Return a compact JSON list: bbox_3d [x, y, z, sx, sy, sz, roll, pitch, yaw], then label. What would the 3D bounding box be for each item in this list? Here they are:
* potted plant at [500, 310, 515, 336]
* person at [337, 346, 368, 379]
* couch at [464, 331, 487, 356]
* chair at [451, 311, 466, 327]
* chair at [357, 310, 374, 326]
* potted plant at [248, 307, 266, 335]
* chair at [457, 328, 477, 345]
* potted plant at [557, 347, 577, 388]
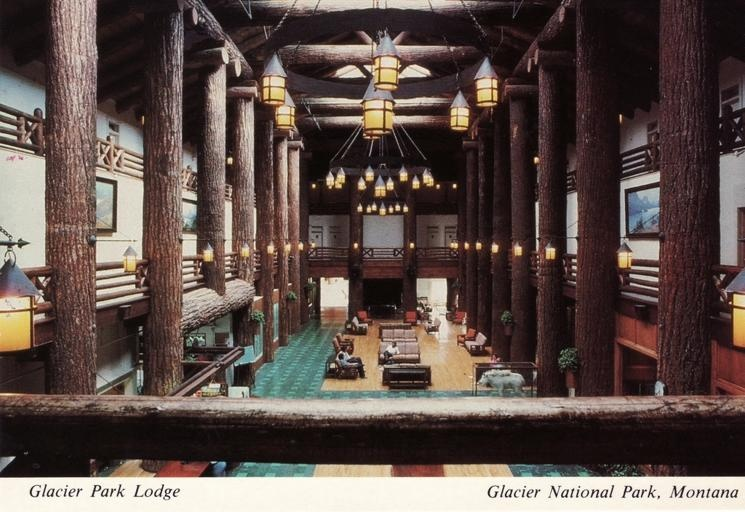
[{"bbox_3d":[3.810,1.871,16.573,0.298,0.691,1.062,-1,-6,10],"label":"potted plant"},{"bbox_3d":[-0.649,3.058,17.210,0.712,0.833,0.841,-1,2,-3],"label":"person"},{"bbox_3d":[3.470,2.905,19.662,0.630,0.723,0.630,0,-6,4],"label":"couch"},{"bbox_3d":[3.792,2.707,25.578,0.688,0.521,0.676,6,0,17],"label":"chair"},{"bbox_3d":[-0.271,2.672,25.628,0.683,0.809,0.637,2,-3,-43],"label":"chair"},{"bbox_3d":[-3.274,1.821,16.639,0.672,0.888,0.626,0,-1,-5],"label":"potted plant"},{"bbox_3d":[3.380,2.846,20.844,0.545,0.672,0.695,0,-4,-4],"label":"chair"},{"bbox_3d":[3.991,2.309,12.000,0.344,0.911,2.128,-2,-6,17],"label":"potted plant"}]
